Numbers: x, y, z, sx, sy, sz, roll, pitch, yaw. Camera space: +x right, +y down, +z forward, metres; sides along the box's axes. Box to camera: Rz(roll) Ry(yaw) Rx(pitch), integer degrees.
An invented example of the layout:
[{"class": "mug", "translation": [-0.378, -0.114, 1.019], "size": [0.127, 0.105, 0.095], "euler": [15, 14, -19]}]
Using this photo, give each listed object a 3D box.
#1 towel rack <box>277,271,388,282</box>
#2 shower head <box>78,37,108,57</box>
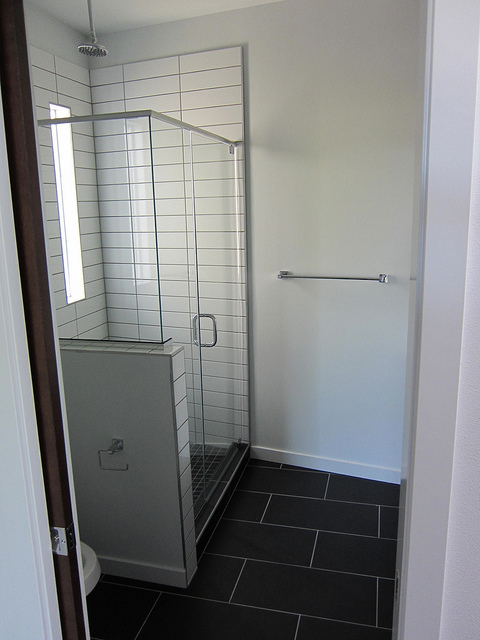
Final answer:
[{"class": "towel rack", "translation": [0.477, -0.229, 2.668], "size": [0.581, 0.042, 0.041], "euler": [4, 12, 25]}, {"class": "shower head", "translation": [-0.565, -1.059, 1.962], "size": [0.089, 0.078, 0.149], "euler": [-2, 12, -5]}]
